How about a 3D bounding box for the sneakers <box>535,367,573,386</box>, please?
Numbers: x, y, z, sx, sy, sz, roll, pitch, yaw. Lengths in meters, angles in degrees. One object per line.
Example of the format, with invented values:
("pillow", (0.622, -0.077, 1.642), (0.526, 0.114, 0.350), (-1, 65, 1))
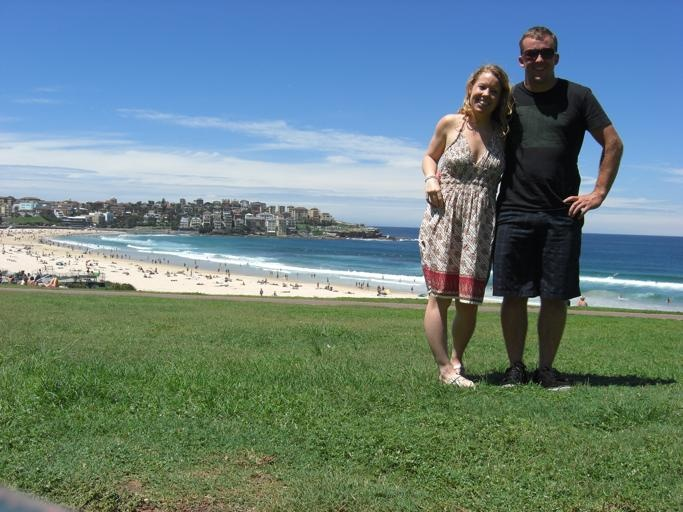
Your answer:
("sneakers", (1.868, 1.066, 5.490), (0.137, 0.124, 0.333), (1, -7, -21))
